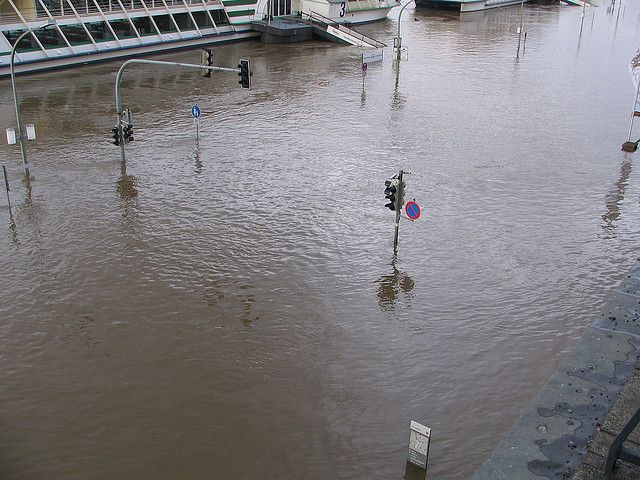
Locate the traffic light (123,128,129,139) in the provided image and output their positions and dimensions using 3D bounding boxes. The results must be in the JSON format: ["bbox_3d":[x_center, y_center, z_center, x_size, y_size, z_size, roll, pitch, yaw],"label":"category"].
[{"bbox_3d":[-10.579,-5.806,36.109,0.152,0.447,0.587,2,0,-41],"label":"traffic light"}]
